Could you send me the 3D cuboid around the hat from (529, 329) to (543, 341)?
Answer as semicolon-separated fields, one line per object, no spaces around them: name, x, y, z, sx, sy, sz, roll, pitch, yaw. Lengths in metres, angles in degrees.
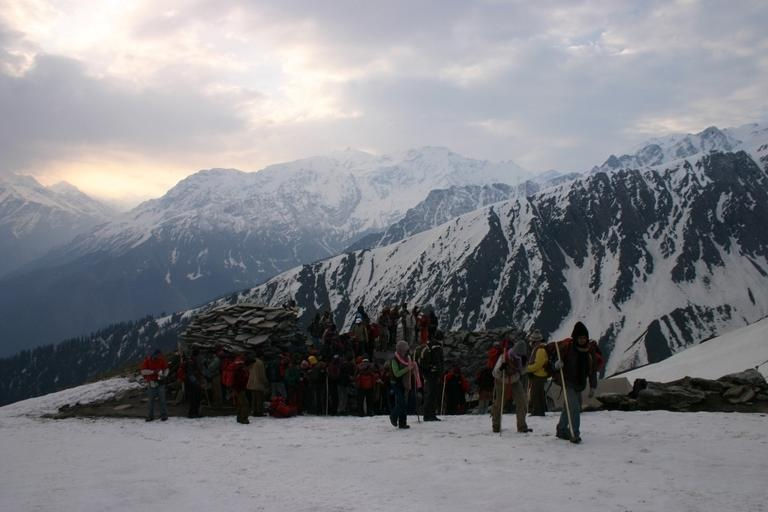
hat;7.481;3.968;30.345;0.730;0.465;0.643;-2;-5;36

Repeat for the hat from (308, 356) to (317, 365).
hat;-4.065;5.991;35.177;0.531;0.443;0.392;-2;0;-11

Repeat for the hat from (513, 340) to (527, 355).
hat;5.739;3.907;25.938;0.606;0.576;0.668;-3;-14;12
